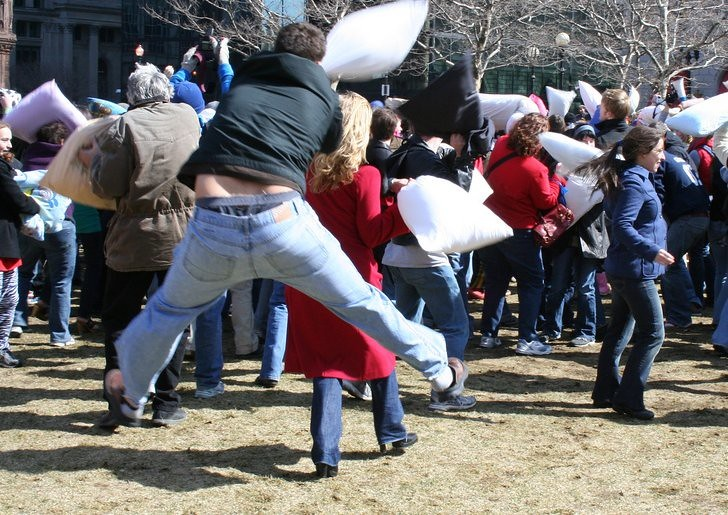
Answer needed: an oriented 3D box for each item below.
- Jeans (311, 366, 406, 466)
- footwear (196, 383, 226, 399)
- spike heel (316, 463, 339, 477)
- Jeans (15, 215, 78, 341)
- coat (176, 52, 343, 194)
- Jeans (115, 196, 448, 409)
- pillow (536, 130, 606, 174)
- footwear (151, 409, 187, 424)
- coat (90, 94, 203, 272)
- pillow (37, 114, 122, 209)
[{"bbox_3d":[-0.074,1.192,7.323,0.890,0.659,0.258,-7,14,-30],"label":"Jeans"},{"bbox_3d":[-1.340,1.179,8.527,0.111,0.097,0.269,3,6,25],"label":"footwear"},{"bbox_3d":[-0.272,1.579,7.191,0.111,0.123,0.145,2,3,-19],"label":"spike heel"},{"bbox_3d":[-3.252,0.156,9.923,0.801,1.327,0.480,12,13,24],"label":"Jeans"},{"bbox_3d":[-0.676,-0.928,6.529,1.070,0.943,0.412,3,4,-7],"label":"coat"},{"bbox_3d":[-0.601,0.324,7.253,2.299,1.023,0.583,-1,14,-4],"label":"Jeans"},{"bbox_3d":[1.976,-1.038,9.362,0.563,0.142,0.540,7,17,-46],"label":"pillow"},{"bbox_3d":[-1.573,1.297,7.963,0.286,0.106,0.114,-5,14,-41],"label":"footwear"},{"bbox_3d":[-1.888,-0.580,7.949,1.136,1.254,1.155,5,13,11],"label":"coat"},{"bbox_3d":[-2.207,-0.778,7.738,0.772,0.615,0.323,10,11,8],"label":"pillow"}]
